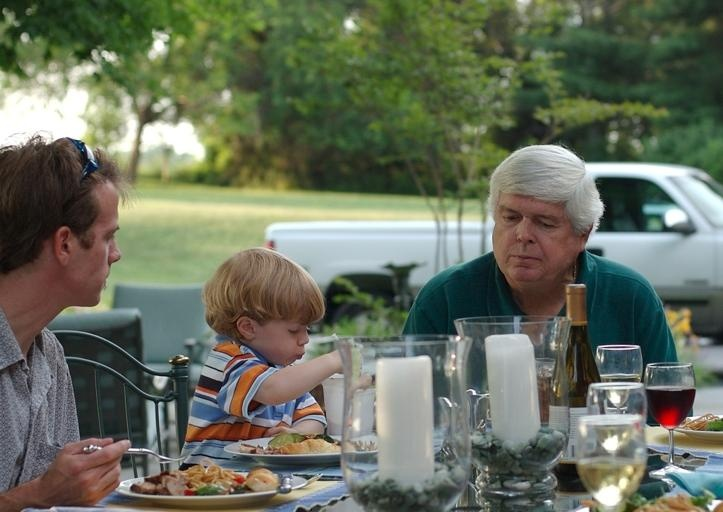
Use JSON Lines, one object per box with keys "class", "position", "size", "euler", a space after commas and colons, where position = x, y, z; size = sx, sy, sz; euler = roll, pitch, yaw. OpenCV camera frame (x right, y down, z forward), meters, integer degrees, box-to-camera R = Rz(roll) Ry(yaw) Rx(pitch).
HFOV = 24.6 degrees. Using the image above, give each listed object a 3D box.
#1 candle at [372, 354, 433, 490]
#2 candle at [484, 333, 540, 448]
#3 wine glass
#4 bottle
{"class": "candle", "position": [0.276, 1.078, 11.190], "size": [0.384, 0.833, 0.327], "euler": [-1, 6, -4]}
{"class": "candle", "position": [1.004, 0.869, 11.119], "size": [0.271, 0.792, 0.288], "euler": [-1, -2, 3]}
{"class": "wine glass", "position": [2.129, 1.032, 11.545], "size": [0.266, 0.784, 0.275], "euler": [0, 1, -11]}
{"class": "bottle", "position": [1.471, 0.890, 11.551], "size": [0.381, 1.347, 0.311], "euler": [2, -5, -4]}
